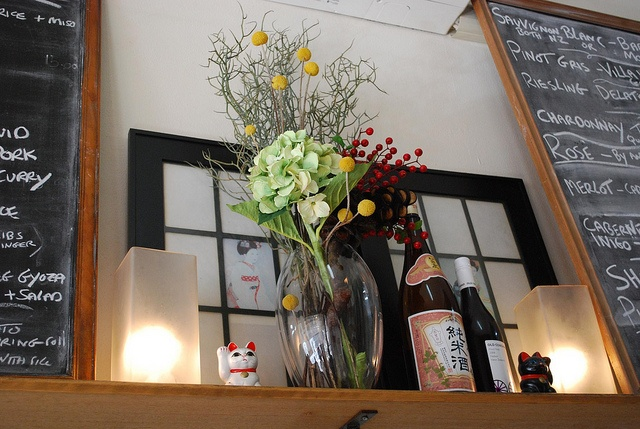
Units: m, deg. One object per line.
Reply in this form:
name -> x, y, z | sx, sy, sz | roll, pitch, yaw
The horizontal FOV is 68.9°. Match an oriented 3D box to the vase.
vase -> 0.023, 0.222, 1.142 | 0.245, 0.397, 0.239 | 1, 15, 31

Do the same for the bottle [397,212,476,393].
bottle -> 0.270, 0.205, 1.186 | 0.157, 0.466, 0.213 | -10, -20, 14

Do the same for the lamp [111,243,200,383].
lamp -> -0.364, 0.242, 1.057 | 0.184, 0.290, 0.189 | -6, -8, 39

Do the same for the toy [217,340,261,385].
toy -> -0.168, 0.326, 1.046 | 0.100, 0.126, 0.085 | 6, -34, -13

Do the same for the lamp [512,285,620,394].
lamp -> 0.671, 0.360, 1.280 | 0.188, 0.290, 0.185 | -10, -20, 27

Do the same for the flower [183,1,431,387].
flower -> -0.012, -0.036, 1.161 | 0.551, 0.939, 0.404 | -11, -11, 15
